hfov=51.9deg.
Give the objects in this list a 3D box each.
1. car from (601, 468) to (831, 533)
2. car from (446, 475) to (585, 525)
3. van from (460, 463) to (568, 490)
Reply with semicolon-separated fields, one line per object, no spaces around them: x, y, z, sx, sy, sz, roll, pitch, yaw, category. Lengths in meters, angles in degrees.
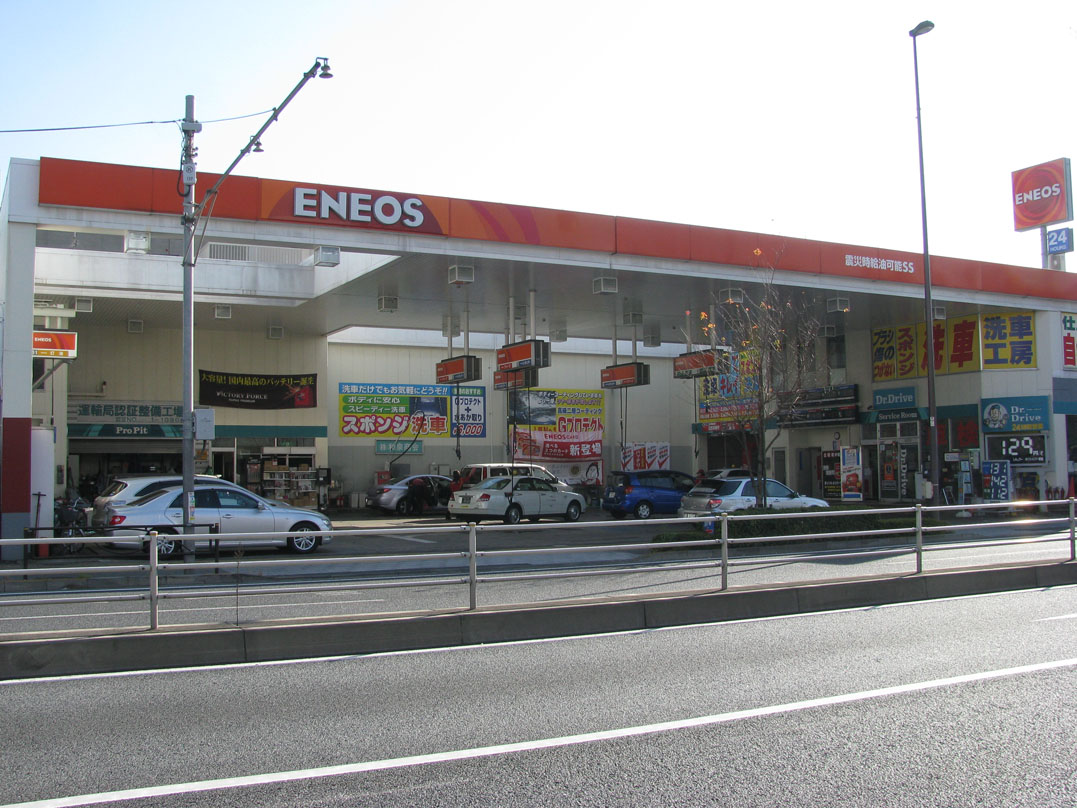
4.640;2.711;31.350;2.916;2.071;8.029;0;4;-16;car
-0.519;2.780;32.229;3.419;1.100;1.562;-3;0;-35;car
-0.932;2.210;35.832;2.784;1.168;1.413;-2;-3;-14;van
